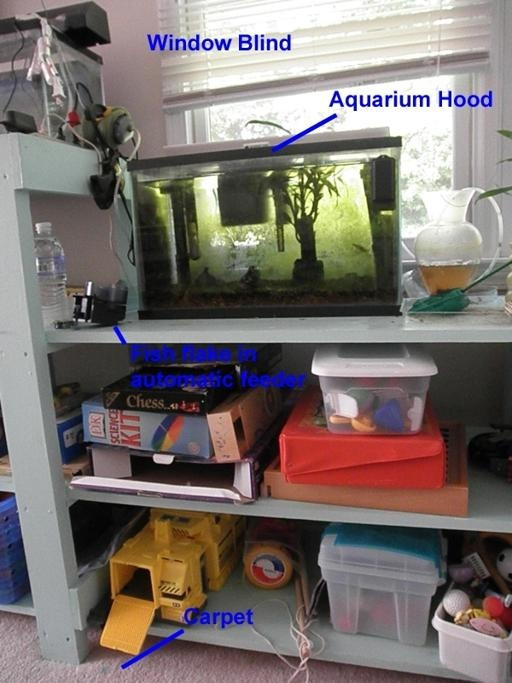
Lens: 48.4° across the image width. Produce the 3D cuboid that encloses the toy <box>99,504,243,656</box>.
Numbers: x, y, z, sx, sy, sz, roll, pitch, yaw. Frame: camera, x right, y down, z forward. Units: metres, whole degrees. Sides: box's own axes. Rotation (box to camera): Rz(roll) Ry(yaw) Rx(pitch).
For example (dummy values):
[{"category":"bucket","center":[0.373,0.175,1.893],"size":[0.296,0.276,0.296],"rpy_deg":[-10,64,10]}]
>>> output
[{"category":"toy","center":[-0.180,0.504,1.327],"size":[0.198,0.172,0.355],"rpy_deg":[3,17,18]}]

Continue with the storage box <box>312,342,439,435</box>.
[{"category":"storage box","center":[0.230,0.086,1.111],"size":[0.261,0.134,0.279],"rpy_deg":[1,11,27]}]

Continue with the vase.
[{"category":"vase","center":[0.395,-0.209,1.180],"size":[0.125,0.203,0.200],"rpy_deg":[-2,14,16]}]

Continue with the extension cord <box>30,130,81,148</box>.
[{"category":"extension cord","center":[-0.415,-0.419,1.186],"size":[0.084,0.034,0.053],"rpy_deg":[14,10,19]}]

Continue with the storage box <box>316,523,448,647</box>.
[{"category":"storage box","center":[0.263,0.489,1.176],"size":[0.255,0.182,0.175],"rpy_deg":[-1,2,21]}]

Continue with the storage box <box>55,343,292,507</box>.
[{"category":"storage box","center":[-0.171,0.151,1.195],"size":[0.352,0.170,0.368],"rpy_deg":[2,22,10]}]
